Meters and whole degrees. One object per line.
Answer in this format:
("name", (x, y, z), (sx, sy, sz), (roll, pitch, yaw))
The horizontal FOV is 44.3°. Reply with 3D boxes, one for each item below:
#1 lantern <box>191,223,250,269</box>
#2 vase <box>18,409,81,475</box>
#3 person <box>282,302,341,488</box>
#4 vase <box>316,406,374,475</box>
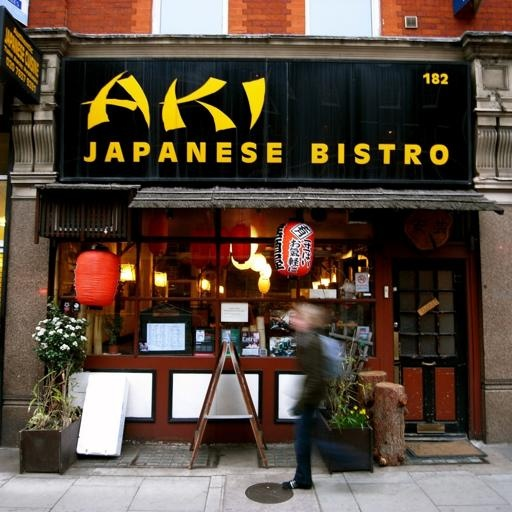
("lantern", (-0.548, -0.152, 9.847), (0.640, 0.507, 0.213), (-2, -5, -5))
("vase", (-2.854, 2.644, 8.777), (0.547, 0.518, 0.794), (0, -8, 0))
("person", (0.675, 1.828, 8.023), (0.672, 2.302, 0.467), (-4, 8, -33))
("vase", (1.205, 2.585, 8.581), (0.518, 0.487, 1.024), (0, -4, -1))
